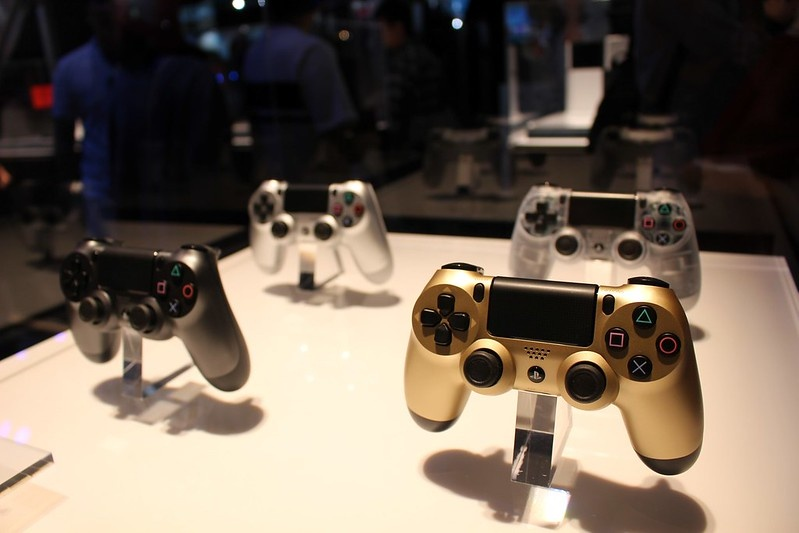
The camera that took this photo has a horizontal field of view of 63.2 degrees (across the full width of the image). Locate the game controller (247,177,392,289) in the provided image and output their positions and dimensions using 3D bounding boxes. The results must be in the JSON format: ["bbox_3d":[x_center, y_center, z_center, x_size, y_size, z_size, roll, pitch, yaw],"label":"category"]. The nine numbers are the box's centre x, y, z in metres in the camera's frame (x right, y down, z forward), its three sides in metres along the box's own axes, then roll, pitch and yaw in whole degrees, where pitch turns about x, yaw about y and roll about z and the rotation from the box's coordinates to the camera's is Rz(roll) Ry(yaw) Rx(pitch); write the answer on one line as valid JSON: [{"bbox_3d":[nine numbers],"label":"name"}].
[{"bbox_3d":[-0.263,-0.090,2.073,0.369,0.283,0.175,4,22,16],"label":"game controller"}]
